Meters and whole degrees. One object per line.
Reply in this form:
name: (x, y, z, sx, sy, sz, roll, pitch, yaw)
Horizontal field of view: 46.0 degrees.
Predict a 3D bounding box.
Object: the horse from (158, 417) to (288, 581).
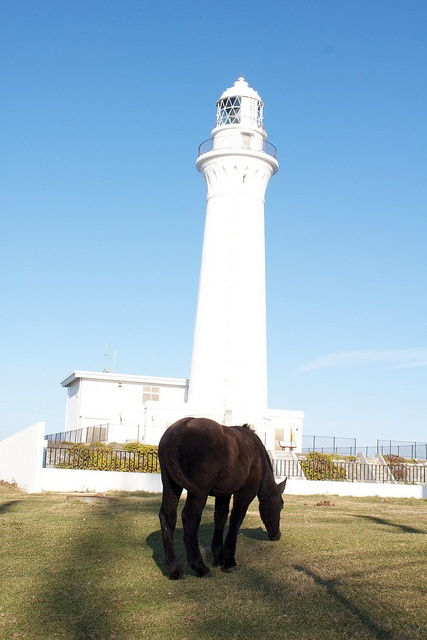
horse: (0.210, 2.514, 7.594, 1.124, 1.997, 3.452, -3, -12, 22)
